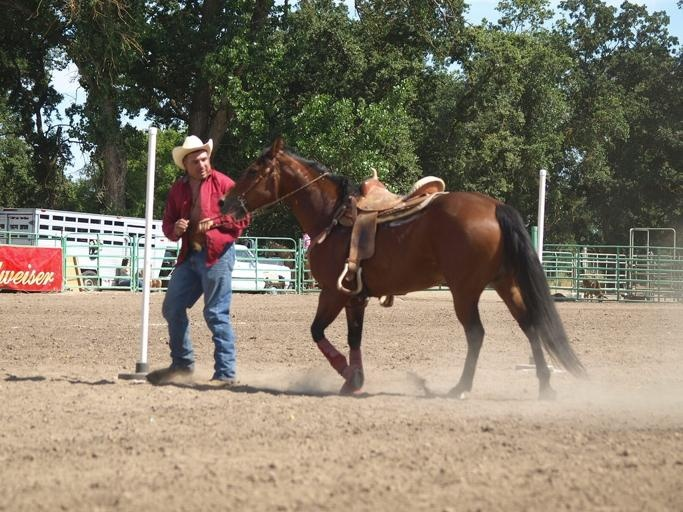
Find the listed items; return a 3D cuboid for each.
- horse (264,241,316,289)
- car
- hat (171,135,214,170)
[{"bbox_3d":[-1.564,0.299,33.700,1.810,2.050,0.595,6,2,2],"label":"horse"},{"bbox_3d":[-3.234,0.676,32.575,3.237,1.647,1.931,-1,1,-16],"label":"car"},{"bbox_3d":[-2.993,-2.020,19.349,0.589,0.307,0.701,-15,3,-7],"label":"hat"}]
